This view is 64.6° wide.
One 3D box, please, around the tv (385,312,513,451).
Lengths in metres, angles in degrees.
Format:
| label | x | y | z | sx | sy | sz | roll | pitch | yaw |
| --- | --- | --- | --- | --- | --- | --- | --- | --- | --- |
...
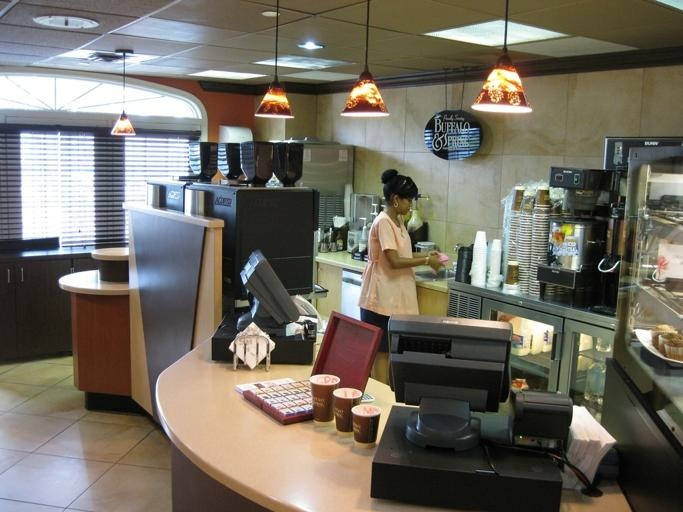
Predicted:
| label | x | y | z | sx | sy | sz | roll | pitch | yaw |
| --- | --- | --- | --- | --- | --- | --- | --- | --- | --- |
| tv | 0.380 | 0.439 | 1.973 | 0.431 | 0.408 | 0.299 | 3 | 3 | 15 |

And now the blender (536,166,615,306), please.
| label | x | y | z | sx | sy | sz | roll | pitch | yaw |
| --- | --- | --- | --- | --- | --- | --- | --- | --- | --- |
| blender | 1.669 | -0.134 | 3.777 | 0.526 | 0.945 | 0.308 | 7 | 12 | 28 |

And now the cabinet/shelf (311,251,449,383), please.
| label | x | y | z | sx | sy | sz | roll | pitch | yaw |
| --- | --- | --- | --- | --- | --- | --- | --- | --- | --- |
| cabinet/shelf | 0.372 | 0.803 | 5.497 | 0.980 | 1.715 | 1.805 | -1 | 2 | -19 |

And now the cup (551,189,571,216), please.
| label | x | y | z | sx | sy | sz | roll | pitch | yaw |
| --- | --- | --- | --- | --- | --- | --- | --- | --- | --- |
| cup | 1.576 | -0.389 | 3.871 | 0.160 | 0.173 | 0.166 | 0 | 1 | 0 |

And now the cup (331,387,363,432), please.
| label | x | y | z | sx | sy | sz | roll | pitch | yaw |
| --- | --- | --- | --- | --- | --- | --- | --- | --- | --- |
| cup | 0.006 | 0.646 | 2.182 | 0.124 | 0.143 | 0.151 | 0 | -19 | 21 |

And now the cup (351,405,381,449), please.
| label | x | y | z | sx | sy | sz | roll | pitch | yaw |
| --- | --- | --- | --- | --- | --- | --- | --- | --- | --- |
| cup | 0.092 | 0.667 | 2.096 | 0.126 | 0.126 | 0.123 | 3 | -7 | 0 |

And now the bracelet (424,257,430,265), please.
| label | x | y | z | sx | sy | sz | roll | pitch | yaw |
| --- | --- | --- | --- | --- | --- | --- | --- | --- | --- |
| bracelet | 0.677 | 0.039 | 4.325 | 0.041 | 0.046 | 0.042 | 3 | 13 | 4 |

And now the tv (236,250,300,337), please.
| label | x | y | z | sx | sy | sz | roll | pitch | yaw |
| --- | --- | --- | --- | --- | --- | --- | --- | --- | --- |
| tv | -0.411 | 0.189 | 2.940 | 0.295 | 0.404 | 0.415 | 0 | 7 | -20 |

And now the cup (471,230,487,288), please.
| label | x | y | z | sx | sy | sz | roll | pitch | yaw |
| --- | --- | --- | --- | --- | --- | --- | --- | --- | --- |
| cup | 1.120 | 0.024 | 4.382 | 0.117 | 0.413 | 0.176 | 4 | 11 | 12 |
